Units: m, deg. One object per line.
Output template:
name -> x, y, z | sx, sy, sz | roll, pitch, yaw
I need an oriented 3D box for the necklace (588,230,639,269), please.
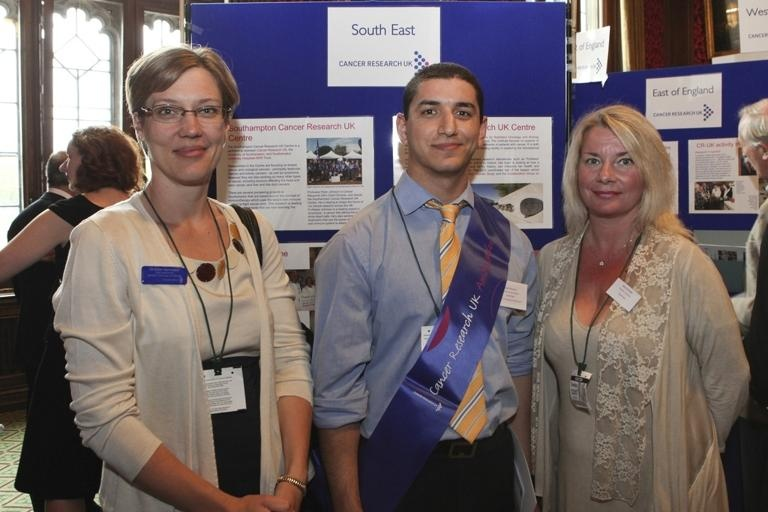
necklace -> 1.166, -0.031, 3.297 | 0.039, 0.046, 0.270 | -14, -24, -47

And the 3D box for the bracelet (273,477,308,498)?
bracelet -> -0.388, 0.955, 2.755 | 0.099, 0.074, 0.107 | 18, -10, 8
